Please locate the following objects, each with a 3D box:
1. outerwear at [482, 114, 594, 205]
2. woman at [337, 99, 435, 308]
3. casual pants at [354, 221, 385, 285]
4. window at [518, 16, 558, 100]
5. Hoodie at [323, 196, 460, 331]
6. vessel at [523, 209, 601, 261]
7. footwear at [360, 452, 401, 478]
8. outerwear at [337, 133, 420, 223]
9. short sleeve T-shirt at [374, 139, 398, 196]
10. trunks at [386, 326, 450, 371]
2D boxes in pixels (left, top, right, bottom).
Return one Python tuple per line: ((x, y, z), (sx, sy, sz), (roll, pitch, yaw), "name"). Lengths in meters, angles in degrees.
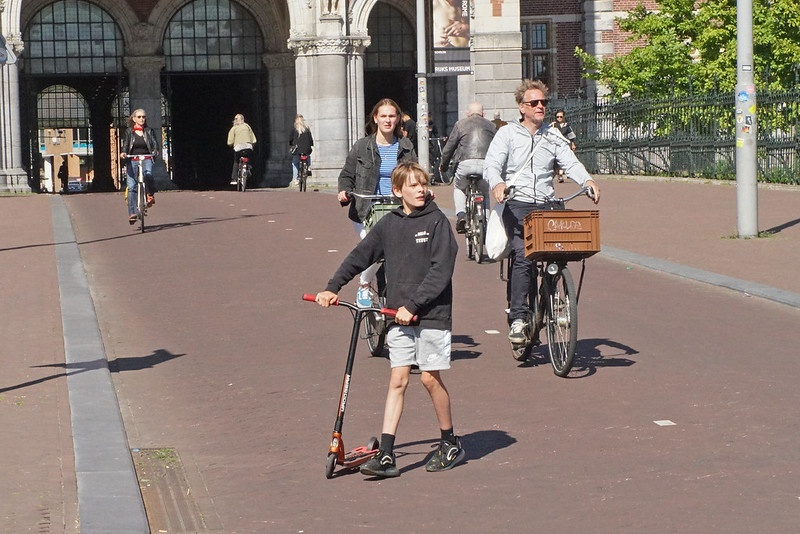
((1.126, -0.949, 12.269), (1.023, 0.739, 0.749), (1, -1, -19), "outerwear")
((-0.164, -0.595, 12.661), (1.002, 1.894, 1.038), (2, 7, 23), "woman")
((-0.322, -0.025, 12.534), (0.296, 0.541, 0.339), (2, 33, 4), "casual pants")
((4.447, -7.327, 45.800), (1.397, 2.396, 0.125), (-2, -5, -2), "window")
((-0.014, 0.028, 10.013), (0.924, 0.753, 1.013), (1, -3, 17), "Hoodie")
((1.388, -0.266, 11.575), (0.511, 0.304, 0.496), (-1, -3, -4), "vessel")
((-0.160, 1.473, 9.769), (0.323, 0.183, 0.134), (1, 2, -6), "footwear")
((-0.198, -0.869, 12.889), (0.832, 0.795, 0.529), (1, 14, -12), "outerwear")
((-0.138, -0.868, 12.769), (0.272, 0.525, 0.203), (-2, -21, 4), "short sleeve T-shirt")
((0.127, 0.559, 9.972), (0.474, 0.416, 0.268), (1, -1, 26), "trunks")
